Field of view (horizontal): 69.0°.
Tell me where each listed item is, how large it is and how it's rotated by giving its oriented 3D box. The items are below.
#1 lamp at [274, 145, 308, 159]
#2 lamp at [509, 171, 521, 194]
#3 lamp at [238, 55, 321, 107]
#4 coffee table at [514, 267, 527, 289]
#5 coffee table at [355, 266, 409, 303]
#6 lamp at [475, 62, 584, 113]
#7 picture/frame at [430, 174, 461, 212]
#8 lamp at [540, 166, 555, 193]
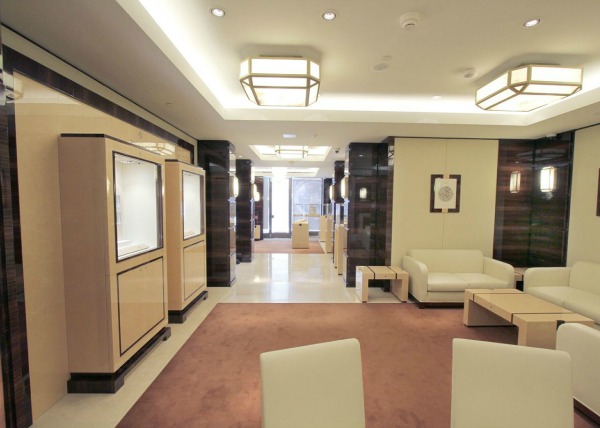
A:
[{"bbox_3d":[-0.191,-1.378,9.602,0.665,0.220,1.217,0,4,0],"label":"lamp"},{"bbox_3d":[3.738,-0.574,7.616,0.179,0.395,0.381,2,4,26],"label":"lamp"},{"bbox_3d":[-0.256,-1.671,5.457,0.973,0.452,0.598,0,4,-4],"label":"lamp"},{"bbox_3d":[3.612,1.052,7.176,0.193,0.381,0.391,-1,0,16],"label":"coffee table"},{"bbox_3d":[1.395,1.191,7.576,0.774,0.500,0.831,0,2,-3],"label":"coffee table"},{"bbox_3d":[2.930,-1.643,5.694,1.020,0.437,0.805,0,4,-4],"label":"lamp"},{"bbox_3d":[2.523,-0.405,7.676,0.629,0.819,0.087,1,2,-3],"label":"picture/frame"},{"bbox_3d":[4.178,-0.622,7.391,0.128,0.392,0.298,0,4,-6],"label":"lamp"}]
